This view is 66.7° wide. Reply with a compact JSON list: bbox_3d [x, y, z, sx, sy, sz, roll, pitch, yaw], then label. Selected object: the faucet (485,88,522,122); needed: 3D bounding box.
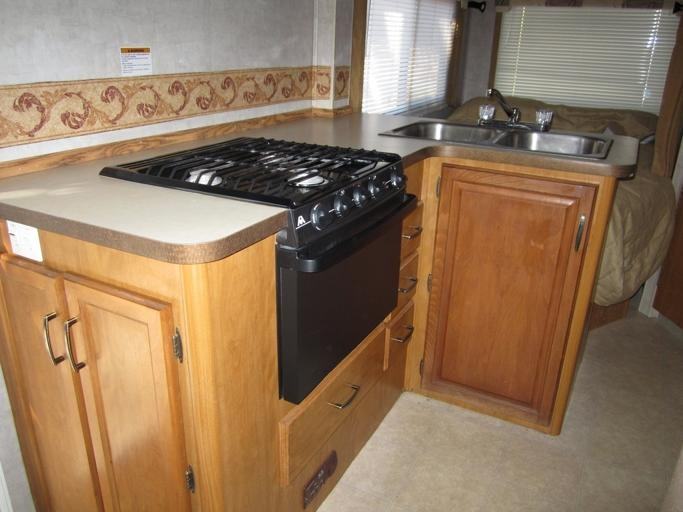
[{"bbox_3d":[0.886,-0.832,2.842,0.160,0.206,0.742,9,25,14],"label":"faucet"}]
